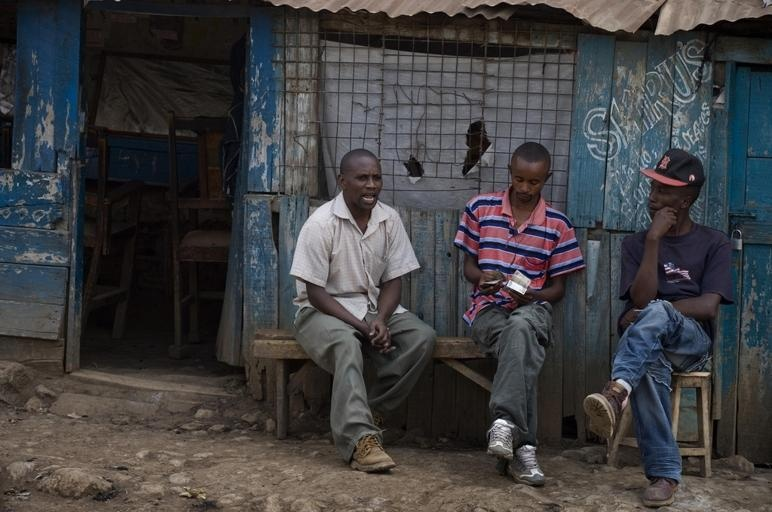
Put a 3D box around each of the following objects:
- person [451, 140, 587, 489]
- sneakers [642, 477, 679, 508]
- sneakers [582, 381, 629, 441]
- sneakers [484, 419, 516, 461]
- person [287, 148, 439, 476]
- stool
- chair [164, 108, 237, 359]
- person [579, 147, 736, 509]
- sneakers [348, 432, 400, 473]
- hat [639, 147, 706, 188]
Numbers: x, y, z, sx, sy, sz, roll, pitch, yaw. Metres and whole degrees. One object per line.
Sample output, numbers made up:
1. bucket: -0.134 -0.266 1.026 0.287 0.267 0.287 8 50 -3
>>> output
1. person: 0.933 0.344 5.569 0.972 2.349 1.215 5 14 13
2. sneakers: 1.912 1.606 5.013 0.315 0.150 0.182 1 13 -7
3. sneakers: 1.511 1.049 4.991 0.191 0.380 0.297 13 17 39
4. sneakers: 0.835 1.303 5.178 0.223 0.279 0.184 2 13 -1
5. person: -0.181 0.367 5.555 1.072 2.269 0.981 0 14 -8
6. stool: 2.217 1.255 5.726 0.808 1.096 0.820 1 -7 -3
7. chair: -1.895 -0.236 8.103 1.070 2.556 1.414 -1 0 -7
8. person: 2.052 0.431 5.300 0.818 2.323 1.412 9 15 25
9. sneakers: -0.103 1.430 5.294 0.302 0.269 0.192 0 14 -10
10. hat: 2.212 -0.668 5.600 0.385 0.225 0.286 7 8 -8
